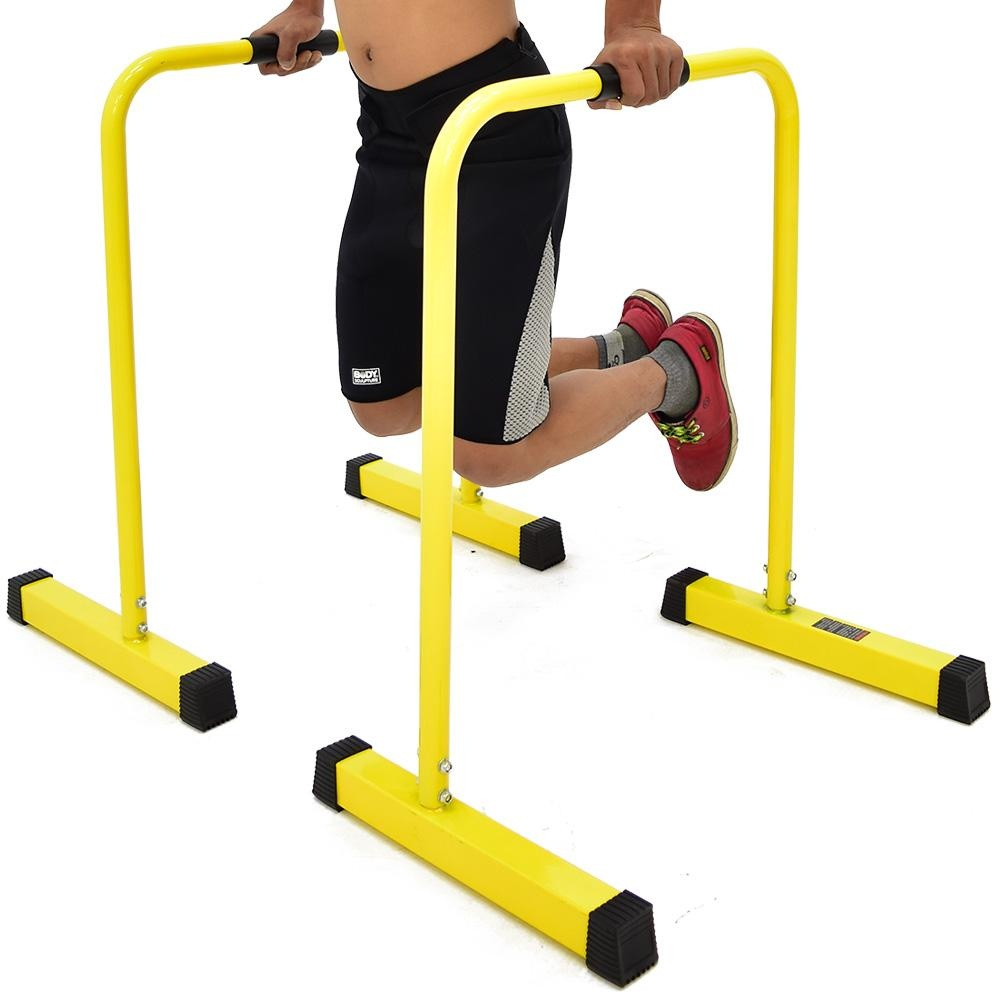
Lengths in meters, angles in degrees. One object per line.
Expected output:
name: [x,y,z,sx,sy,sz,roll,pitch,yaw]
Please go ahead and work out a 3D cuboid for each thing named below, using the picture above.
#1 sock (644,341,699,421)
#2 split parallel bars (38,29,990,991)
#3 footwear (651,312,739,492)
sock: [0.324,-0.216,2.127,0.061,0.167,0.073,-25,-13,35]
split parallel bars: [0.009,0.175,1.690,0.761,0.775,1.216,-16,24,-42]
footwear: [0.361,-0.173,2.236,0.147,0.372,0.141,13,38,34]
